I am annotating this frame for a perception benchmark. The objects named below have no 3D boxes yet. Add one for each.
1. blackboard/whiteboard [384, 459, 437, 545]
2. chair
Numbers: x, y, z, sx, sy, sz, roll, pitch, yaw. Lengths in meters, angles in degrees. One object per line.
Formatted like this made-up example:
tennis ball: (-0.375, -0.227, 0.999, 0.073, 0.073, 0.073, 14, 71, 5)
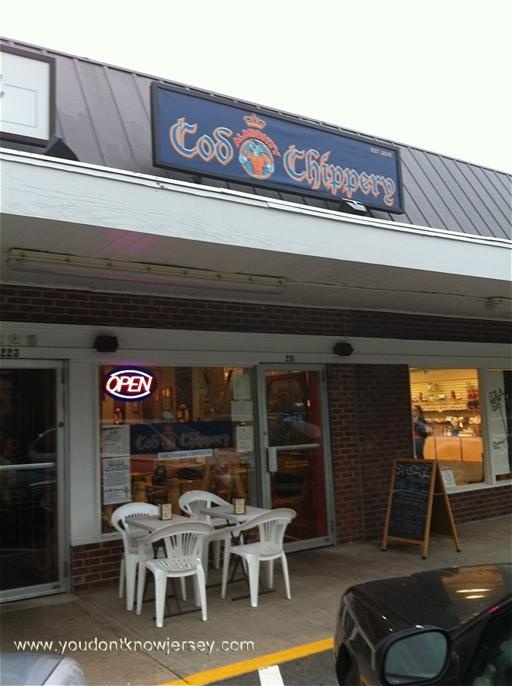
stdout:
blackboard/whiteboard: (1.889, 2.014, 7.366, 0.417, 1.094, 0.730, 4, -9, -37)
chair: (-0.653, 1.948, 5.663, 1.217, 0.703, 1.369, 7, -12, -36)
